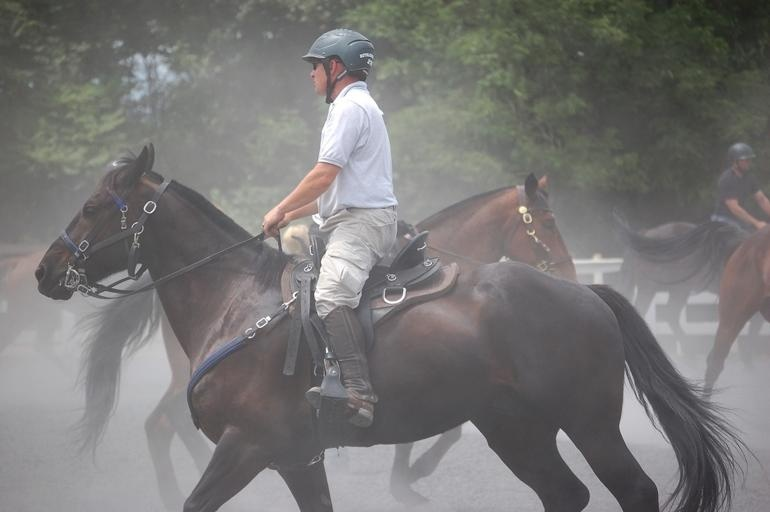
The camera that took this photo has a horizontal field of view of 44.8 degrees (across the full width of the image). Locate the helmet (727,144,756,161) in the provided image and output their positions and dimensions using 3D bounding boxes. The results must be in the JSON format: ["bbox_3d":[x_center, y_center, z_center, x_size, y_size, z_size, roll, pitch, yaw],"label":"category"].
[{"bbox_3d":[6.364,-1.871,16.771,0.498,0.267,0.345,-2,4,30],"label":"helmet"}]

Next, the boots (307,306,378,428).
[{"bbox_3d":[-0.450,1.405,11.881,0.585,1.526,0.334,-5,7,-5],"label":"boots"}]
